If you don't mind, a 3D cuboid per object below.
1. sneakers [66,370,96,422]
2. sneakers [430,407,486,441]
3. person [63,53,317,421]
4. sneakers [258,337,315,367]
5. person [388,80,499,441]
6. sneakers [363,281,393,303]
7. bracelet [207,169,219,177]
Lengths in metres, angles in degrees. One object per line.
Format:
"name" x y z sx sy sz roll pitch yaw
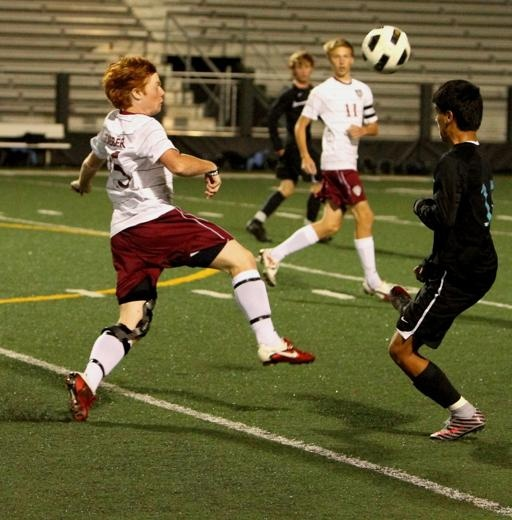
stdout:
"sneakers" -0.779 0.612 2.910 0.109 0.229 0.110 3 9 -2
"sneakers" 0.925 0.764 3.120 0.341 0.129 0.107 -16 10 22
"person" -0.384 -0.100 3.329 1.055 1.766 0.988 1 9 -13
"sneakers" 0.128 0.458 3.238 0.348 0.107 0.103 0 -5 -10
"person" 0.874 0.027 2.948 0.478 1.678 0.495 6 10 10
"sneakers" 1.050 0.267 5.561 0.186 0.125 0.419 15 -1 -21
"bracelet" -0.211 -0.419 3.184 0.052 0.021 0.033 -19 5 -1
